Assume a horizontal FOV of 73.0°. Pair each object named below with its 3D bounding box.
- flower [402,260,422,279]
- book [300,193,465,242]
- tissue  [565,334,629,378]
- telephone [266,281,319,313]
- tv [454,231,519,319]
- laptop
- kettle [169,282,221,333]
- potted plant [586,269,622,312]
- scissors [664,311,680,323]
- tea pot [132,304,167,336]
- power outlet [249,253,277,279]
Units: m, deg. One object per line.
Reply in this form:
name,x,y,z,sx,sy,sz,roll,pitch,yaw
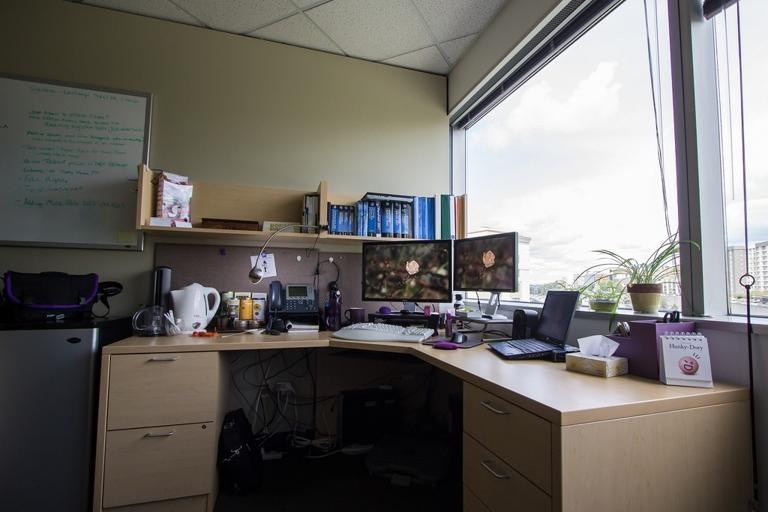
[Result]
flower,0.191,0.095,3.725,0.099,0.113,0.050,6,3,14
book,0.055,-0.303,3.901,1.157,0.333,0.091,-1,-1,-13
tissue ,1.101,0.463,2.680,0.187,0.198,0.269,2,-5,-23
telephone,-0.656,0.296,3.723,0.313,0.210,0.223,-1,-5,-5
tv,0.698,0.120,3.560,0.180,0.560,0.537,6,-9,-32
laptop,0.942,0.383,3.090,0.431,0.344,0.604,5,0,-3
kettle,-1.255,0.313,3.538,0.280,0.333,0.295,6,1,1
potted plant,1.317,0.254,3.159,0.169,0.190,0.174,14,-15,-20
scissors,1.500,0.313,2.717,0.073,0.081,0.053,7,-8,-9
tea pot,-1.533,0.415,3.444,0.242,0.239,0.163,0,3,-32
power outlet,-0.910,0.068,3.835,0.178,0.196,0.019,-1,-2,-8
